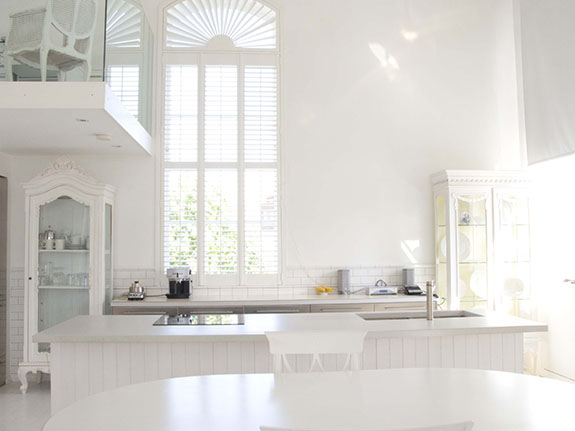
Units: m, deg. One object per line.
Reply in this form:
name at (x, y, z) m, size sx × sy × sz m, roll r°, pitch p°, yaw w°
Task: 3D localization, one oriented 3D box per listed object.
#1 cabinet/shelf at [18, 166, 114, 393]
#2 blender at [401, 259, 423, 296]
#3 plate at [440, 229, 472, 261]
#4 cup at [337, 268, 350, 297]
cabinet/shelf at (-2.518, 0.612, 5.882) m, size 0.924 × 2.140 × 0.483 m, roll -2°, pitch 9°, yaw -13°
blender at (1.476, 0.793, 6.298) m, size 0.183 × 0.308 × 0.245 m, roll 1°, pitch -6°, yaw -15°
plate at (2.014, 0.341, 6.084) m, size 0.292 × 0.316 × 0.071 m, roll 11°, pitch 9°, yaw 29°
cup at (0.667, 0.798, 6.279) m, size 0.133 × 0.267 × 0.214 m, roll 1°, pitch 9°, yaw 6°
